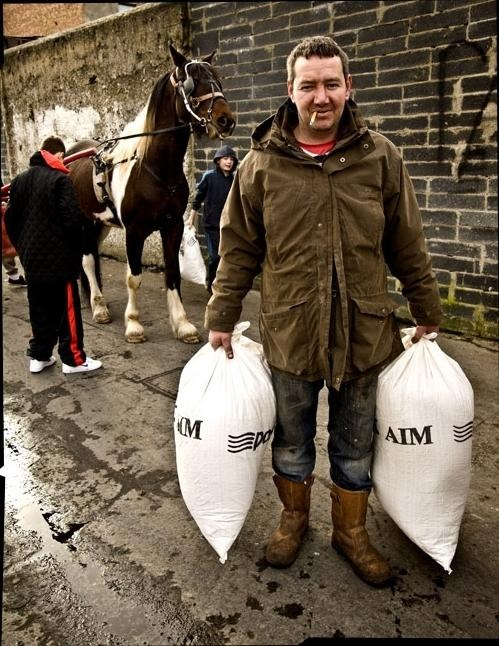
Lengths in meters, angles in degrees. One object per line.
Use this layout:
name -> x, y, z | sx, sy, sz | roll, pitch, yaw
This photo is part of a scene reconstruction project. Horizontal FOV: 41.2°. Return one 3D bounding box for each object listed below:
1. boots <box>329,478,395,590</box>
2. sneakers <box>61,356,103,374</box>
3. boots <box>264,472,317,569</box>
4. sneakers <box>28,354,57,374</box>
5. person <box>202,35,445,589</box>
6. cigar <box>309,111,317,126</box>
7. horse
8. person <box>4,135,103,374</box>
boots -> 0.429, 0.798, 2.515 | 0.149, 0.335, 0.343 | -9, 19, -21
sneakers -> -1.138, 0.309, 4.532 | 0.291, 0.121, 0.102 | -6, 20, -23
boots -> 0.160, 0.765, 2.624 | 0.159, 0.335, 0.352 | 7, 16, 20
sneakers -> -1.434, 0.282, 4.628 | 0.076, 0.089, 0.226 | 8, 16, 16
person -> 0.253, -0.017, 2.410 | 0.841, 1.917, 0.386 | 4, 16, 17
cigar -> 0.209, -0.672, 2.173 | 0.012, 0.045, 0.012 | 14, 11, 18
horse -> -1.023, -0.926, 5.593 | 0.685, 2.059, 3.017 | -8, 12, -33
person -> -1.267, -0.334, 4.202 | 0.501, 1.473, 0.381 | -5, 16, -14
